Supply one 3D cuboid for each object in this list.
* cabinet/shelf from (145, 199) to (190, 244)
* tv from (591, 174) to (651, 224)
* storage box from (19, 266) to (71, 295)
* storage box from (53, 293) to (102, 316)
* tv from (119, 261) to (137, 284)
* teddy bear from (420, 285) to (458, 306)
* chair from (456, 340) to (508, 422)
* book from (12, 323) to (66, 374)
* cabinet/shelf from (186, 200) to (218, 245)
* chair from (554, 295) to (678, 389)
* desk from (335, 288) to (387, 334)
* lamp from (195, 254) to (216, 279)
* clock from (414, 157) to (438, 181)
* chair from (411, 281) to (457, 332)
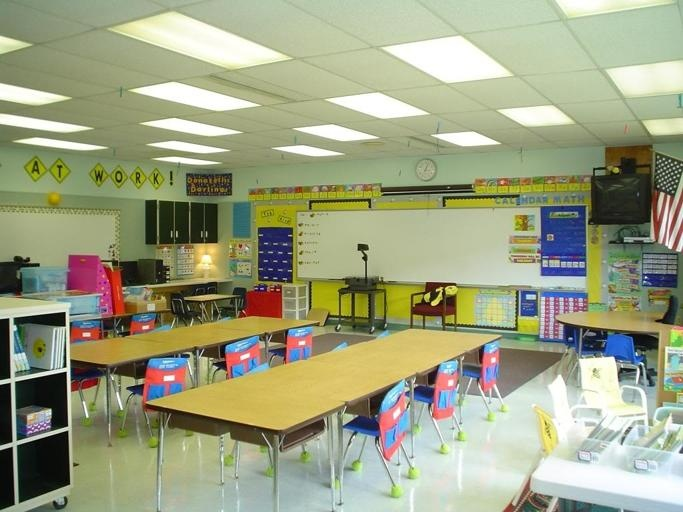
[{"bbox_3d":[-4.092,-0.775,12.577,0.457,0.996,1.126,2,2,20],"label":"cabinet/shelf"},{"bbox_3d":[4.741,-0.981,9.034,0.814,0.771,0.444,2,5,36],"label":"tv"},{"bbox_3d":[-4.670,0.356,8.445,0.632,0.354,0.437,-3,2,-26],"label":"storage box"},{"bbox_3d":[-3.627,0.641,7.331,0.504,0.220,0.507,2,2,28],"label":"storage box"},{"bbox_3d":[-4.661,0.353,11.781,0.425,0.460,0.501,-4,-4,29],"label":"tv"},{"bbox_3d":[2.009,0.763,10.762,0.726,0.388,0.447,-2,2,-4],"label":"teddy bear"},{"bbox_3d":[1.667,1.440,6.515,0.651,0.779,0.527,0,1,33],"label":"chair"},{"bbox_3d":[-2.570,0.771,4.572,0.422,0.409,0.105,-6,-7,23],"label":"book"},{"bbox_3d":[-3.282,-0.804,13.371,1.090,0.967,0.427,3,5,30],"label":"cabinet/shelf"},{"bbox_3d":[3.913,1.024,7.500,1.013,0.852,1.349,0,1,31],"label":"chair"},{"bbox_3d":[0.496,1.201,11.771,1.080,0.972,0.913,4,-3,18],"label":"desk"},{"bbox_3d":[-3.480,0.244,13.706,0.555,0.792,0.553,-1,4,-15],"label":"lamp"},{"bbox_3d":[1.775,-1.814,11.159,0.406,0.401,0.095,-25,-14,32],"label":"clock"},{"bbox_3d":[1.844,0.951,10.723,0.919,1.187,0.945,0,-1,31],"label":"chair"}]
